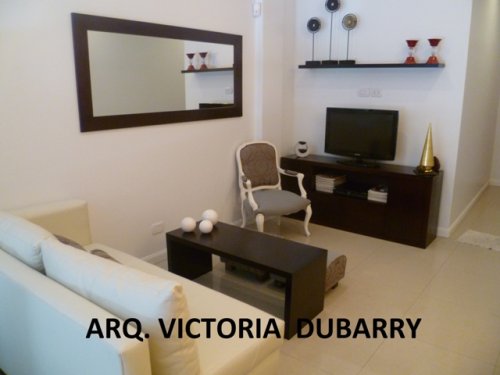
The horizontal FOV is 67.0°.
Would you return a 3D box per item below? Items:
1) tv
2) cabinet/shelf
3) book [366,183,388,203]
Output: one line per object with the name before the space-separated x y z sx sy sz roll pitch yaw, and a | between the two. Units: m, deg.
tv | 1.371 -0.612 4.519 0.636 0.491 0.190 10 17 36
cabinet/shelf | 1.352 0.093 4.838 1.928 0.858 0.563 10 18 40
book | 1.524 0.062 4.446 0.174 0.075 0.229 14 23 39
